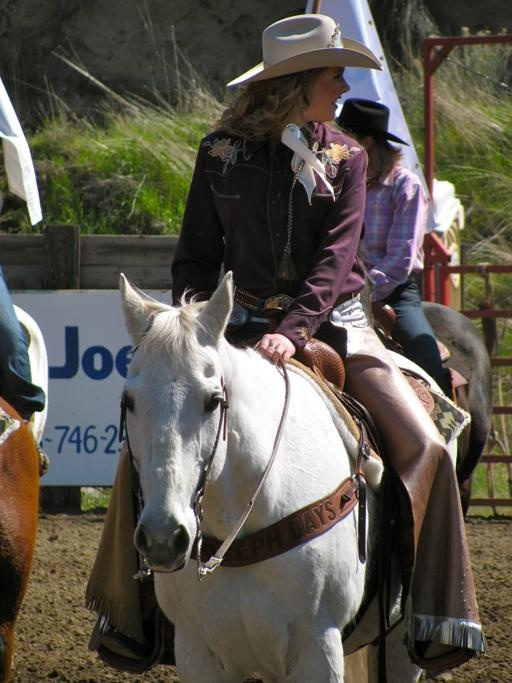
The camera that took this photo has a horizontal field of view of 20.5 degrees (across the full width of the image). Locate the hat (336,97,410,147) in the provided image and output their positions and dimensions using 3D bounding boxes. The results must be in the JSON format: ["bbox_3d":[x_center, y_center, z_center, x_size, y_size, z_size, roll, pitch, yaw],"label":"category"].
[{"bbox_3d":[0.656,-1.298,8.246,0.314,0.167,0.409,22,-11,23],"label":"hat"}]

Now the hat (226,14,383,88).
[{"bbox_3d":[0.249,-1.324,6.352,0.470,0.222,0.356,-19,2,-18],"label":"hat"}]
